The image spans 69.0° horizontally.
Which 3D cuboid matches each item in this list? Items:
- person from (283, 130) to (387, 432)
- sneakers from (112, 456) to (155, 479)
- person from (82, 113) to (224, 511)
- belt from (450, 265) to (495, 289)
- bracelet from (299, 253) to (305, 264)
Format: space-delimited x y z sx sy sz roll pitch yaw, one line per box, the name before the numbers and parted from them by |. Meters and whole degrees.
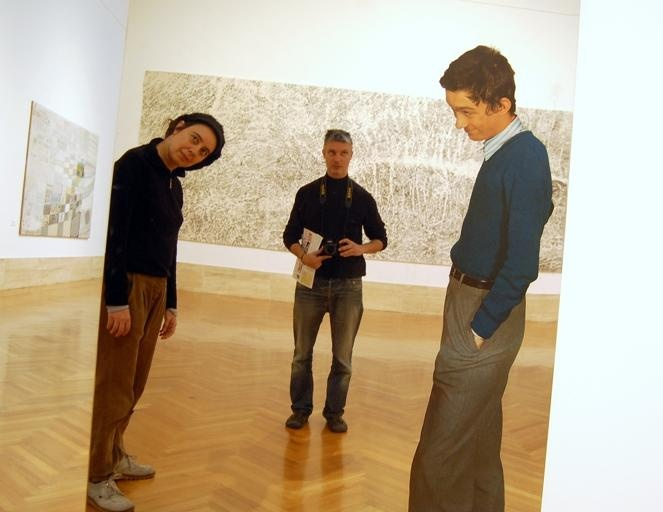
person | 0.007 0.123 2.356 0.500 1.455 0.190 4 6 6
sneakers | -0.952 1.035 2.383 0.235 0.124 0.089 2 -5 -2
person | -0.868 0.278 2.341 0.570 1.955 0.251 2 6 -18
belt | 0.699 0.115 2.407 0.211 0.098 0.010 5 6 7
bracelet | -0.143 0.014 2.369 0.034 0.044 0.016 4 8 -32
